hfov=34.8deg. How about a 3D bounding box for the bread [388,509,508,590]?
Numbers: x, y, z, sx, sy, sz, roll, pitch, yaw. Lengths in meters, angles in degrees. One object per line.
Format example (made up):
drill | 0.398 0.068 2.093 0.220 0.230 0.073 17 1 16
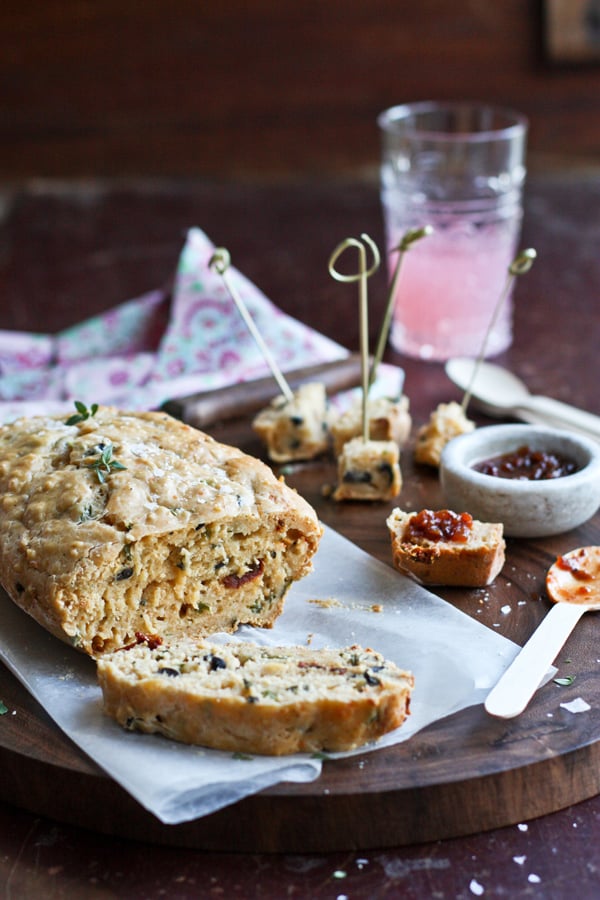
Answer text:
bread | 0.315 0.213 2.129 0.263 0.131 0.155 7 40 12

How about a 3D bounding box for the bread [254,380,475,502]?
bread | 0.121 -0.038 2.655 0.441 0.114 0.396 15 29 30

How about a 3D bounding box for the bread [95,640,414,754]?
bread | -0.063 0.418 1.623 0.335 0.066 0.237 2 7 11
